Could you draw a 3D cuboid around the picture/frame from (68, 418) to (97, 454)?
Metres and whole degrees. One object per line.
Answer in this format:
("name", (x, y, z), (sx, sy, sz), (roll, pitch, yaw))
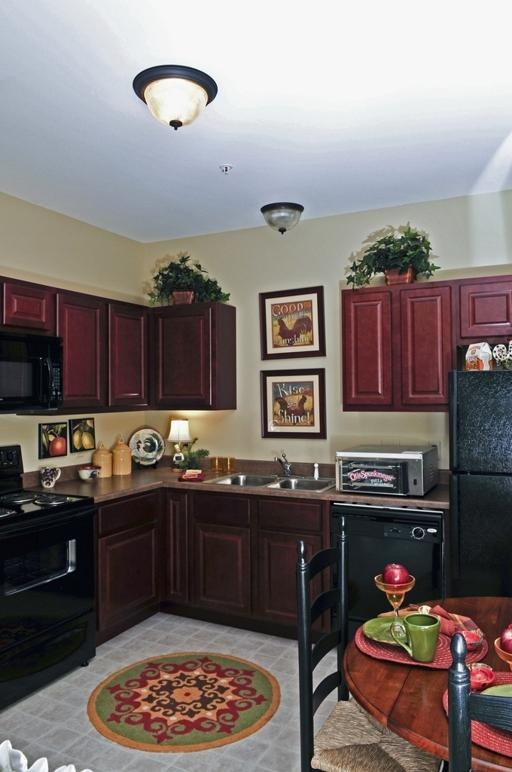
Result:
("picture/frame", (-1.174, 0.334, 3.806), (0.025, 0.233, 0.254), (1, 0, 24))

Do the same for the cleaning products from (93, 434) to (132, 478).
("cleaning products", (-0.982, 0.505, 3.947), (0.158, 0.265, 0.264), (-2, -6, 11))

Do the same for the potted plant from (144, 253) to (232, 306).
("potted plant", (-0.492, -0.721, 4.145), (0.553, 0.421, 0.466), (1, 1, -41))

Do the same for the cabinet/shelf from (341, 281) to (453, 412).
("cabinet/shelf", (0.828, -0.230, 3.246), (0.764, 0.890, 0.449), (0, 0, 23))

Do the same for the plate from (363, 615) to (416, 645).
("plate", (0.341, 0.639, 1.496), (0.112, 0.016, 0.112), (-1, 3, 26))

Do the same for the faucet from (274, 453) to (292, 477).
("faucet", (0.190, 0.539, 3.871), (0.083, 0.142, 0.150), (1, -2, -32))

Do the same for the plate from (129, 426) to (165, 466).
("plate", (-0.820, 0.451, 4.243), (0.263, 0.263, 0.069), (8, -15, -28))

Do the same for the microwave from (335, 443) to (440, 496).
("microwave", (0.743, 0.469, 3.210), (0.486, 0.253, 0.461), (-1, -2, 30))

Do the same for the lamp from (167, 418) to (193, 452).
("lamp", (-0.598, 0.356, 4.195), (0.221, 0.301, 0.221), (2, -3, -12))

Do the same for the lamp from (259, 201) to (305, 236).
("lamp", (0.163, -1.018, 3.383), (0.212, 0.171, 0.216), (1, -2, -34))

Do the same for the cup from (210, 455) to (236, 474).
("cup", (-0.244, 0.562, 4.063), (0.177, 0.113, 0.097), (0, -5, 37))

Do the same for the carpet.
("carpet", (-0.328, 1.426, 2.633), (0.882, 0.014, 0.851), (0, -2, -1))

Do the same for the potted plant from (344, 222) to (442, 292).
("potted plant", (0.831, -0.743, 3.474), (0.497, 0.309, 0.442), (-8, 12, 15))

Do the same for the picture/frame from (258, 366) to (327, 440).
("picture/frame", (0.268, 0.121, 3.871), (0.482, 0.485, 0.034), (-3, -5, 32))

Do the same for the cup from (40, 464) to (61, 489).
("cup", (-1.224, 0.558, 3.428), (0.093, 0.136, 0.143), (-1, -7, 22))

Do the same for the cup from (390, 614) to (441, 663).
("cup", (0.389, 0.604, 1.385), (0.084, 0.086, 0.122), (3, -10, -25))

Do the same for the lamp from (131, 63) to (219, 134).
("lamp", (-0.290, -1.012, 2.080), (0.291, 0.128, 0.301), (2, -1, -18))

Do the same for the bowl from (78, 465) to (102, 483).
("bowl", (-1.097, 0.573, 3.704), (0.091, 0.053, 0.092), (2, -2, 0))
